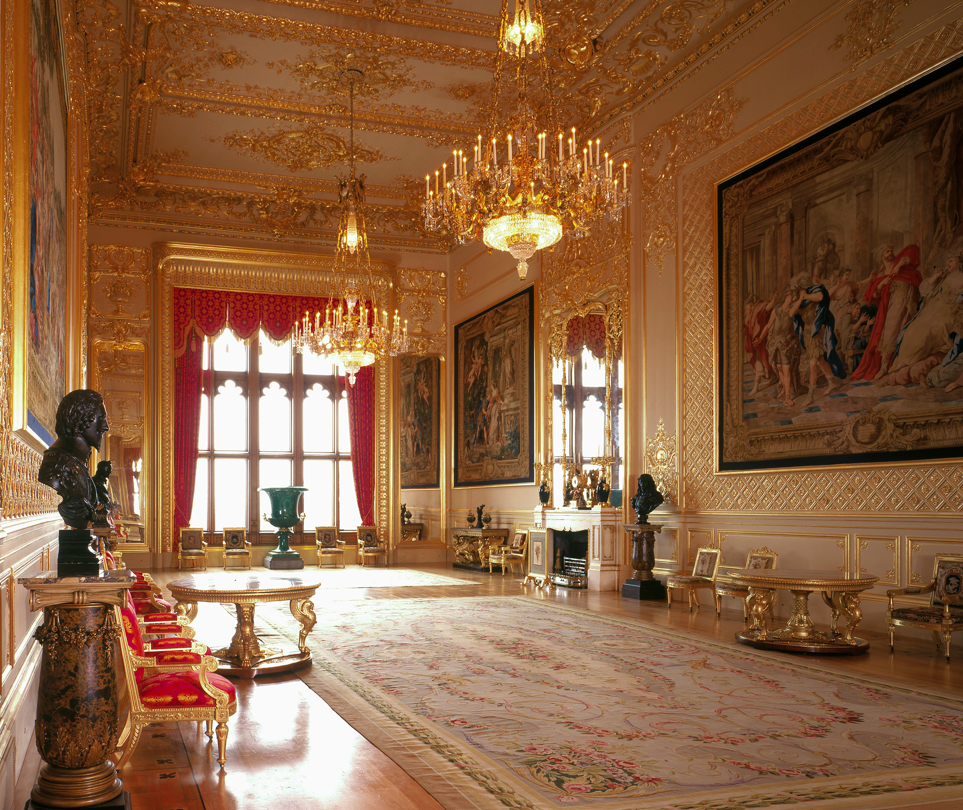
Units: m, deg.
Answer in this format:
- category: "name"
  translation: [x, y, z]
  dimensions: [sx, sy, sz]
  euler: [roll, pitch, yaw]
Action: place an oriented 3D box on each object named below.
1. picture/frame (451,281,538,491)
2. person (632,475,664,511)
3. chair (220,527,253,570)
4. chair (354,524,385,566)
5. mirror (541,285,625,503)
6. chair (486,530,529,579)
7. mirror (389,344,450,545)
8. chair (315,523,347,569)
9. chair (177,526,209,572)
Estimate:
- category: "picture/frame"
  translation: [0.317, -0.370, 15.736]
  dimensions: [0.228, 4.518, 4.407]
  euler: [1, -3, -21]
- category: "person"
  translation: [2.213, 1.177, 10.409]
  dimensions: [0.391, 0.717, 0.703]
  euler: [3, 2, 14]
- category: "chair"
  translation: [-5.068, 2.956, 16.133]
  dimensions: [0.684, 1.013, 0.698]
  euler: [2, -7, -19]
- category: "chair"
  translation: [-2.408, 3.054, 16.941]
  dimensions: [0.752, 1.139, 0.742]
  euler: [2, -6, -20]
- category: "mirror"
  translation: [1.697, -0.147, 12.646]
  dimensions: [0.188, 4.525, 3.316]
  euler: [3, -7, -20]
- category: "chair"
  translation: [0.524, 2.781, 14.543]
  dimensions: [0.821, 1.144, 0.808]
  euler: [3, -5, -36]
- category: "mirror"
  translation: [-1.414, 0.953, 17.607]
  dimensions: [1.333, 4.236, 0.471]
  euler: [0, -5, -7]
- category: "chair"
  translation: [-3.284, 3.053, 16.757]
  dimensions: [0.695, 1.037, 0.716]
  euler: [2, -5, -19]
- category: "chair"
  translation: [-5.800, 2.856, 15.601]
  dimensions: [0.710, 1.145, 0.696]
  euler: [2, -6, -20]
